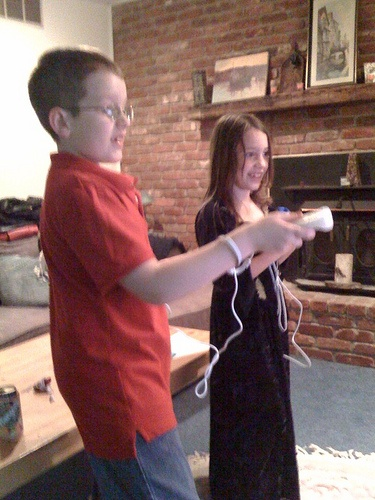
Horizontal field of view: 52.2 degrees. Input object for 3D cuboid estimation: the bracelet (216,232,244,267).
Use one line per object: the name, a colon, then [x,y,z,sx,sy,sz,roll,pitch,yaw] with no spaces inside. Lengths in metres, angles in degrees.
bracelet: [0.051,0.001,0.441,0.007,0.029,0.029,-30,30,4]

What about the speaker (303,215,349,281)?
speaker: [0.944,-0.106,2.851,0.279,0.494,0.324,7,32,13]
